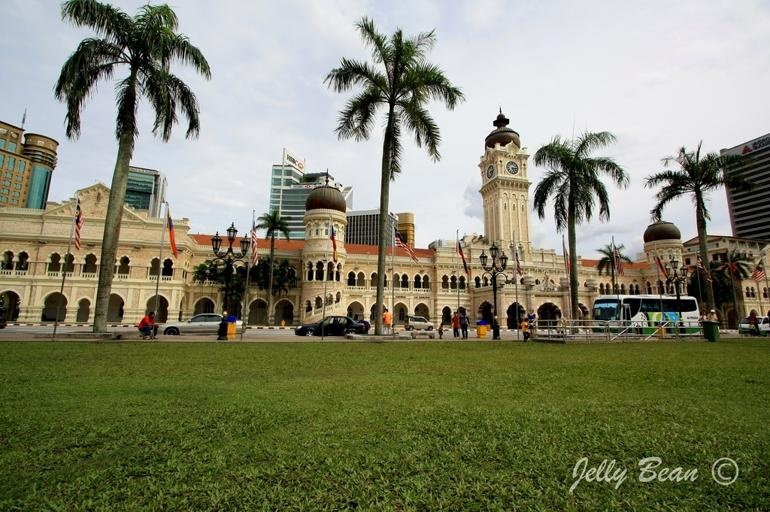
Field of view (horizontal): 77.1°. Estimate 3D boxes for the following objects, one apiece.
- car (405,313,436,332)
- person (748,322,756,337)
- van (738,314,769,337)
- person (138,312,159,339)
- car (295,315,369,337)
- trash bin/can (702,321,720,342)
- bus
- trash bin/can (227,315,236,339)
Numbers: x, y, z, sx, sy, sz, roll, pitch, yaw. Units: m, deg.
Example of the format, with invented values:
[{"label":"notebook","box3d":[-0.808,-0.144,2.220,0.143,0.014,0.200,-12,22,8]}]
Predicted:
[{"label":"car","box3d":[2.433,5.594,39.982,2.731,1.341,1.624,-1,-5,-13]},{"label":"person","box3d":[25.600,5.068,33.569,0.464,0.958,1.289,2,4,37]},{"label":"van","box3d":[27.060,4.958,35.308,2.662,1.312,1.650,3,-8,-6]},{"label":"person","box3d":[-11.817,3.467,24.080,0.684,1.340,2.683,-2,4,-27]},{"label":"car","box3d":[-3.250,4.344,30.248,4.150,1.102,2.363,0,3,4]},{"label":"trash bin/can","box3d":[17.759,4.087,26.367,0.926,1.361,0.954,14,-15,-39]},{"label":"bus","box3d":[16.974,3.882,31.481,5.590,2.345,1.856,4,-12,-3]},{"label":"trash bin/can","box3d":[-8.490,3.890,26.590,0.452,1.064,1.402,-2,3,-20]}]
